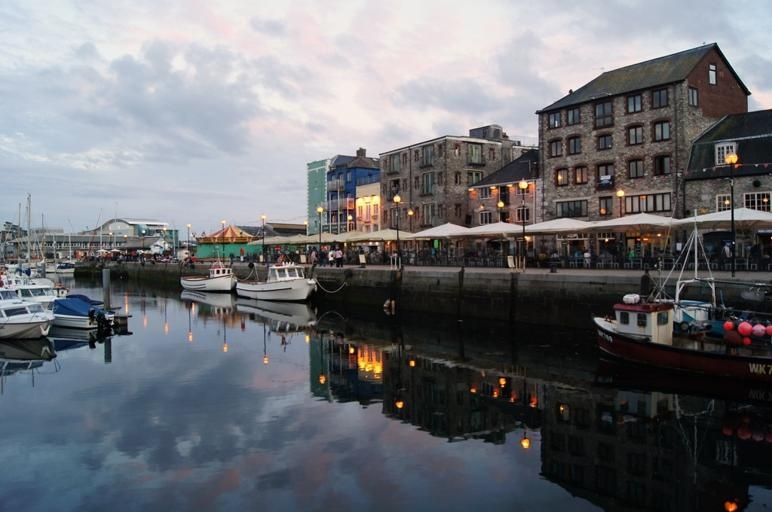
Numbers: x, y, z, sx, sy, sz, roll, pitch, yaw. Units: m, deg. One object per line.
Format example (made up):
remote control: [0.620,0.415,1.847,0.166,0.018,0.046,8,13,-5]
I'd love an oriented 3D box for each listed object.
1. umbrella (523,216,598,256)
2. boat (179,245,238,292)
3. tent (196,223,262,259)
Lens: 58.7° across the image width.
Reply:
umbrella: [13.652,-1.454,52.616,5.398,3.057,2.953,-1,-3,1]
boat: [-17.450,2.297,69.738,2.972,3.839,9.082,1,-7,-37]
tent: [-19.172,-1.304,84.236,4.154,1.905,4.160,-2,-2,1]
